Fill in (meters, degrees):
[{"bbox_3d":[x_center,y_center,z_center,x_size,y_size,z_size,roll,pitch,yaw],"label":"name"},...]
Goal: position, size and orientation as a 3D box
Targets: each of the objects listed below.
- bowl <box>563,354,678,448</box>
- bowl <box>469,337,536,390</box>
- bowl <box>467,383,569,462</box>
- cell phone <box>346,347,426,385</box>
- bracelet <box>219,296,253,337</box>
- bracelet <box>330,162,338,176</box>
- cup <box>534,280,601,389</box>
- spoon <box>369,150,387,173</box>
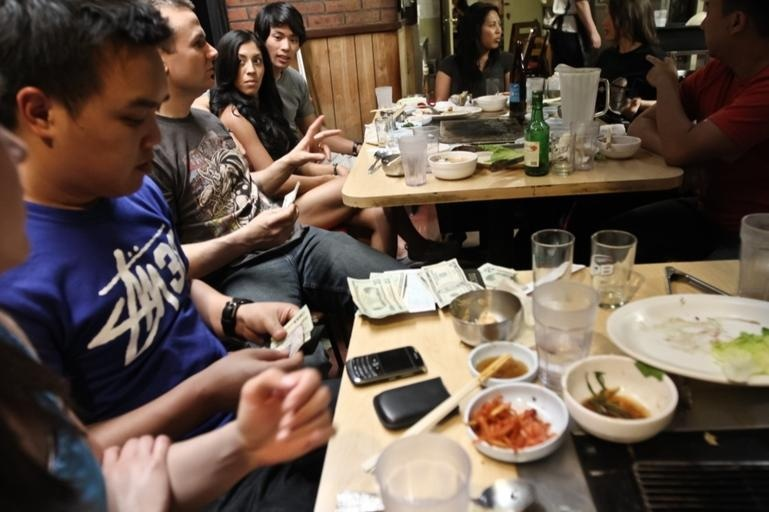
[{"bbox_3d":[0.572,0.342,1.305,0.243,0.098,0.263,-16,25,8],"label":"bowl"},{"bbox_3d":[0.318,0.296,1.452,0.186,0.046,0.192,-4,21,2],"label":"bowl"},{"bbox_3d":[0.318,0.399,1.314,0.240,0.098,0.182,3,28,20],"label":"bowl"},{"bbox_3d":[-0.003,0.301,1.493,0.171,0.034,0.096,-9,33,-7],"label":"cell phone"},{"bbox_3d":[-0.540,0.232,2.119,0.090,0.139,0.143,5,-3,26],"label":"bracelet"},{"bbox_3d":[-0.350,-0.624,3.906,0.042,0.090,0.065,0,3,-10],"label":"bracelet"},{"bbox_3d":[0.459,0.204,1.388,0.178,0.293,0.187,-3,44,3],"label":"cup"},{"bbox_3d":[-0.031,-0.516,2.938,0.057,0.028,0.195,18,39,5],"label":"spoon"}]
